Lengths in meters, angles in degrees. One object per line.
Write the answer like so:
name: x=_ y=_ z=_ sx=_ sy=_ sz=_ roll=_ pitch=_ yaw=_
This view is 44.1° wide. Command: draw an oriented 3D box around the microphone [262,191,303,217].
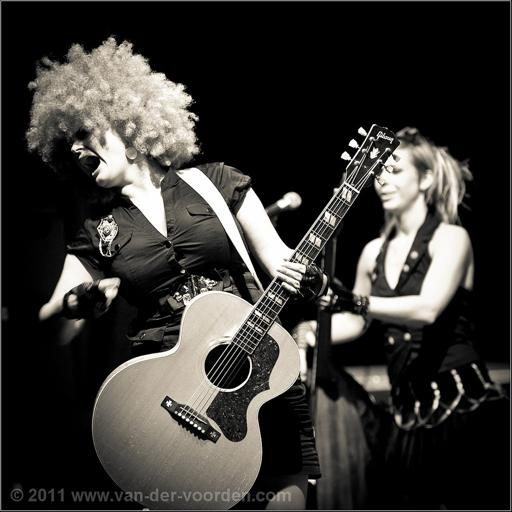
microphone: x=0.128 y=-0.257 z=3.183 sx=0.157 sy=0.052 sz=0.054 roll=-41 pitch=-2 yaw=-21

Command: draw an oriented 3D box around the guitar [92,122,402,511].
guitar: x=-0.054 y=0.310 z=2.540 sx=0.600 sy=1.652 sz=0.220 roll=33 pitch=-7 yaw=-8
